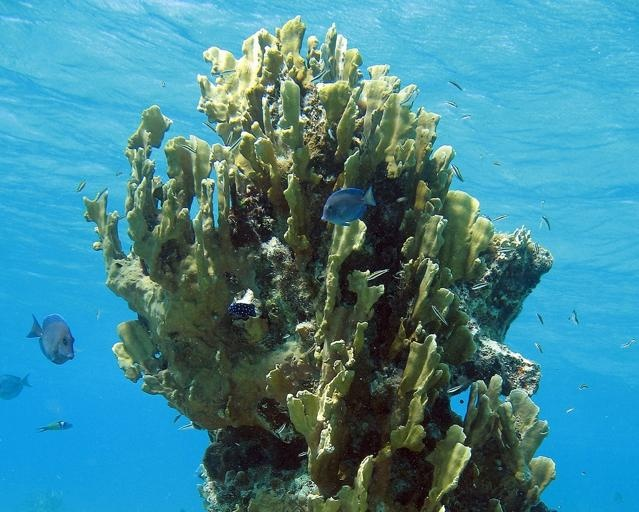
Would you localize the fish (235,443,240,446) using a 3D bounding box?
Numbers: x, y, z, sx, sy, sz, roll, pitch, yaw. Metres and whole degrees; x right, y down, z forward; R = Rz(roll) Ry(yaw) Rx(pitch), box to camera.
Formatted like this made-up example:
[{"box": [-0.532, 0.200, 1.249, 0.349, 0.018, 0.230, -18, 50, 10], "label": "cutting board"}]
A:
[{"box": [-2.512, 5.804, 23.562, 0.148, 0.060, 0.127, 6, 51, -1], "label": "fish"}]
